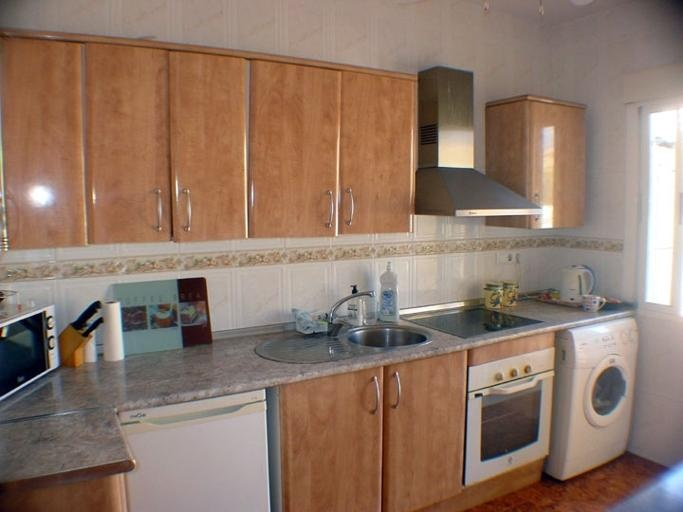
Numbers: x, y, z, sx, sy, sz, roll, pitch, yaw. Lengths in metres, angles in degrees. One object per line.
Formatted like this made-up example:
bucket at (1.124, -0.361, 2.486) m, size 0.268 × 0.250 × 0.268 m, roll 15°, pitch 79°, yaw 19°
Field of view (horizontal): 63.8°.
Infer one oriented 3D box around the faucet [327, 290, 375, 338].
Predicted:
faucet at (0.050, 0.305, 3.160) m, size 0.269 × 0.216 × 0.373 m, roll -3°, pitch 6°, yaw 1°

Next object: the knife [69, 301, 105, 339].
knife at (-1.221, 0.296, 2.604) m, size 0.070 × 0.037 × 0.190 m, roll 22°, pitch 54°, yaw 15°

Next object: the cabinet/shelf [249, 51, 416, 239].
cabinet/shelf at (-0.122, -0.556, 3.010) m, size 1.069 × 0.897 × 0.437 m, roll -7°, pitch 14°, yaw -36°

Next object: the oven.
oven at (0.867, 0.848, 3.302) m, size 0.592 × 0.736 × 0.511 m, roll -8°, pitch 14°, yaw -18°

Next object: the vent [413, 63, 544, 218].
vent at (0.584, -0.693, 3.386) m, size 0.854 × 0.911 × 0.836 m, roll -10°, pitch 17°, yaw -43°

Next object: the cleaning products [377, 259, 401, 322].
cleaning products at (0.279, 0.213, 3.279) m, size 0.124 × 0.350 × 0.082 m, roll 0°, pitch -3°, yaw 15°

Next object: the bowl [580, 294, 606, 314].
bowl at (1.657, 0.294, 3.606) m, size 0.139 × 0.106 × 0.252 m, roll 1°, pitch 7°, yaw 31°

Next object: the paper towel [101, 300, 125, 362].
paper towel at (-1.111, 0.356, 2.642) m, size 0.101 × 0.286 × 0.132 m, roll -6°, pitch 8°, yaw -22°

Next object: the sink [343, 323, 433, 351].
sink at (0.258, 0.466, 3.153) m, size 0.231 × 0.080 × 0.226 m, roll -2°, pitch 9°, yaw -11°

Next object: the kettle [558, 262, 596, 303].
kettle at (1.642, 0.182, 3.800) m, size 0.196 × 0.229 × 0.303 m, roll 2°, pitch 8°, yaw 38°
